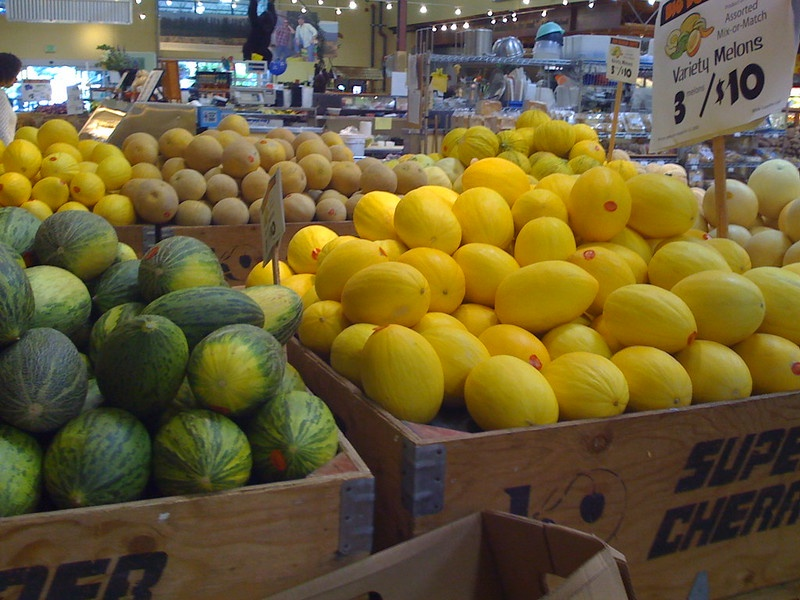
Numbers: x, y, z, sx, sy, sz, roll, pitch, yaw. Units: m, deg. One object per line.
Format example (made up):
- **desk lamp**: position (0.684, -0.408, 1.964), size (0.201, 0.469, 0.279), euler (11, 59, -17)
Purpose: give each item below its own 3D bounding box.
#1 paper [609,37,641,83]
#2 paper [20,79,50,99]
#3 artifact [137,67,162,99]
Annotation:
- **paper**: position (1.298, -1.382, 3.607), size (0.169, 0.271, 0.284), euler (8, 15, 17)
- **paper**: position (-6.253, -3.583, 10.706), size (0.343, 0.327, 1.611), euler (-5, 18, -32)
- **artifact**: position (-2.743, -2.351, 6.840), size (0.257, 0.339, 0.422), euler (-2, 16, -21)
